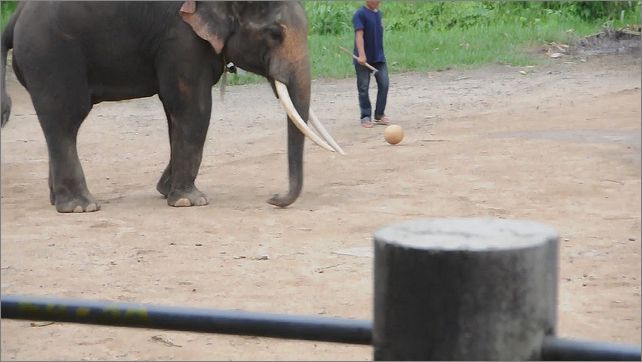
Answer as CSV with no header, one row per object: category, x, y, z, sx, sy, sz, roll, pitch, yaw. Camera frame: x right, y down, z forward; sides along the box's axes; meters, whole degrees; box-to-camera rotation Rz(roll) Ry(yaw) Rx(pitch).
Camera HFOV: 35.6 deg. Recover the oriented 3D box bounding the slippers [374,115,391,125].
slippers,1.056,-1.073,17.350,0.131,0.087,0.254,-7,7,-40
